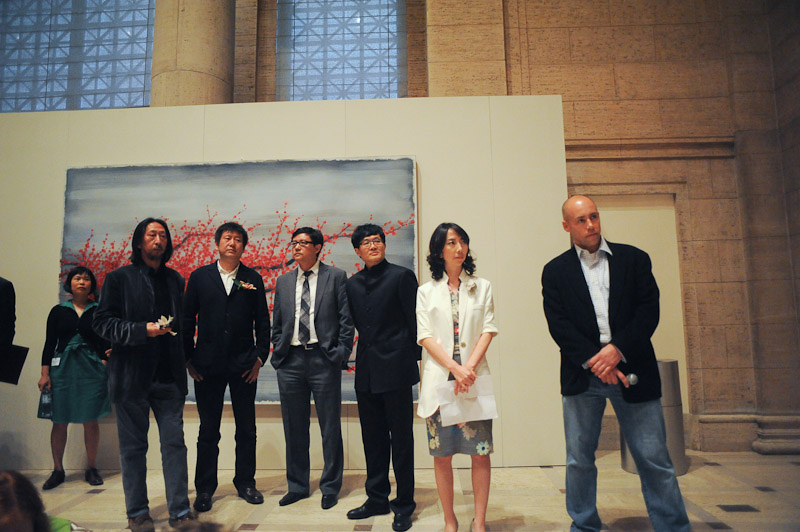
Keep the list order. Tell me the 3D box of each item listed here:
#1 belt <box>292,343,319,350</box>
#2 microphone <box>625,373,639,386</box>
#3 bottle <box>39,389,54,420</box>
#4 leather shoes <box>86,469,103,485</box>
[{"bbox_3d":[-0.974,0.830,8.149,0.285,0.066,0.034,0,15,4],"label":"belt"},{"bbox_3d":[2.144,1.051,7.257,0.114,0.117,0.052,2,15,12],"label":"microphone"},{"bbox_3d":[-3.895,1.540,8.657,0.191,0.321,0.083,2,15,10],"label":"bottle"},{"bbox_3d":[-3.330,2.316,8.608,0.105,0.107,0.283,4,-5,-43],"label":"leather shoes"}]
